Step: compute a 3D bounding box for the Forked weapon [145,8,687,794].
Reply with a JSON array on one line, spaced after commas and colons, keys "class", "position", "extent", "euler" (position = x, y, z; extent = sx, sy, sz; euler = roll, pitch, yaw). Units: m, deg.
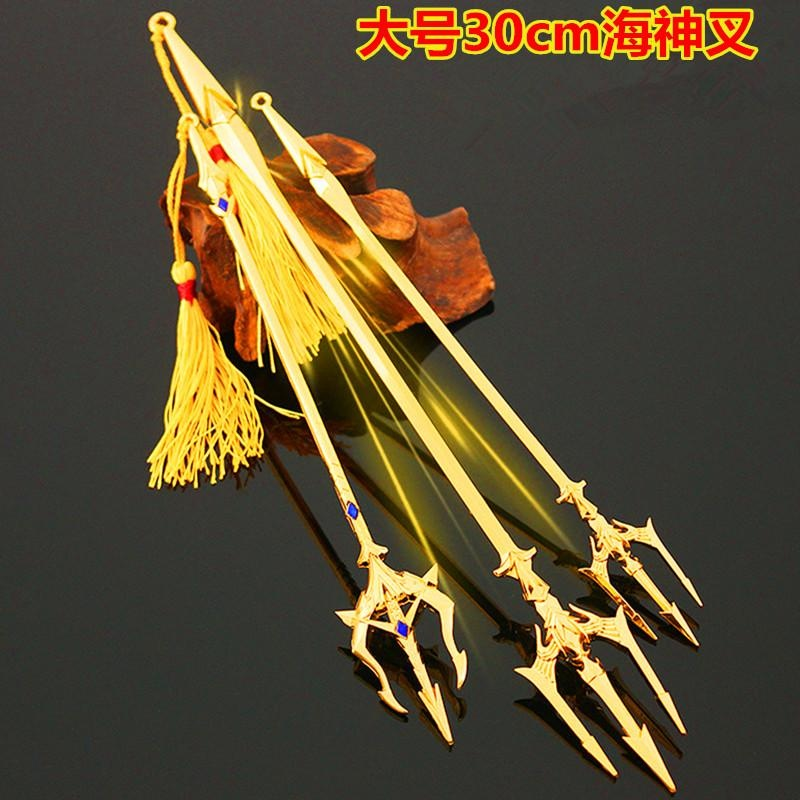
[{"class": "Forked weapon", "position": [-0.033, 0.092, 1.404], "extent": [0.381, 0.138, 0.905], "euler": [-25, 78, -8]}]

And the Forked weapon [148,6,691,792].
[{"class": "Forked weapon", "position": [-0.038, 0.083, 1.409], "extent": [0.379, 0.135, 0.906], "euler": [-27, 78, -8]}]

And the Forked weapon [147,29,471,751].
[{"class": "Forked weapon", "position": [-0.114, -0.030, 1.436], "extent": [0.262, 0.064, 0.786], "euler": [-25, 80, 7]}]
